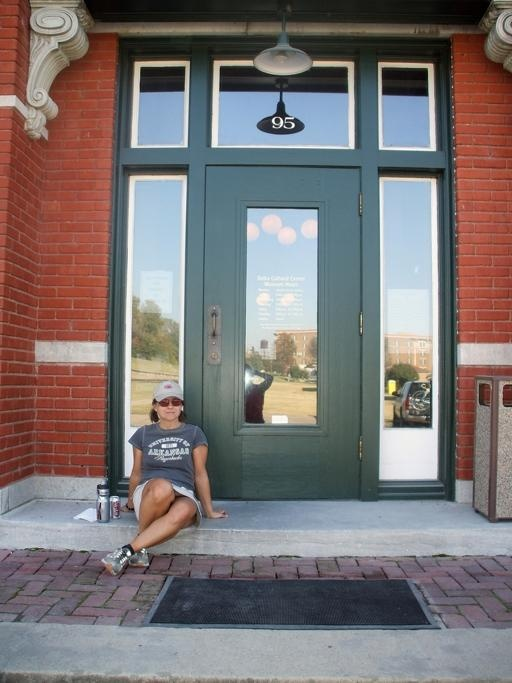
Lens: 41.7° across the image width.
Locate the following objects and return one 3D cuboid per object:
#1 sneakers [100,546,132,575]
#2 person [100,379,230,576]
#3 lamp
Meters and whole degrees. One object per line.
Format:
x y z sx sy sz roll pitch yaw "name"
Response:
-0.741 1.174 3.610 0.118 0.101 0.273 -40 0 -24 "sneakers"
-0.368 0.829 4.127 0.800 0.948 0.996 2 -10 -9 "person"
0.182 -2.023 4.426 0.366 0.351 0.353 -14 22 -19 "lamp"
